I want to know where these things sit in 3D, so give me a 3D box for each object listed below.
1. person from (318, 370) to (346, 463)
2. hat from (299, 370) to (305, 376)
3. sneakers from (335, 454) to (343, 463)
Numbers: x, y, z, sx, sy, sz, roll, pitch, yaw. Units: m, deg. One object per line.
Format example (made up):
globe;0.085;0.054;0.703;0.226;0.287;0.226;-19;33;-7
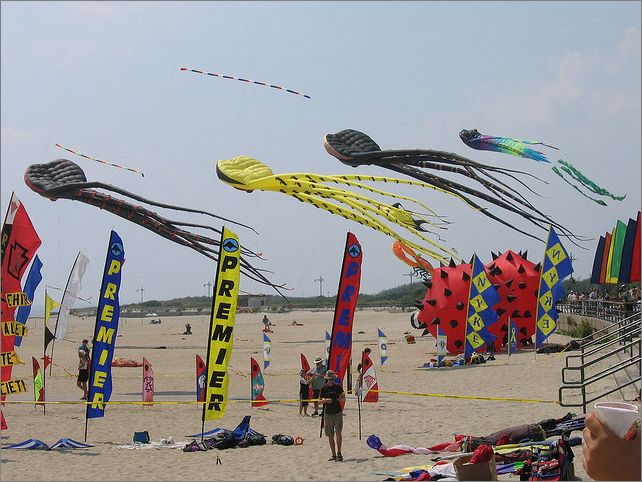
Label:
person;0.364;5.489;31.554;0.731;2.793;1.065;0;-14;3
hat;-0.679;4.735;36.473;0.238;0.243;0.202;3;-26;7
sneakers;0.564;6.697;31.184;0.198;0.287;0.581;3;0;2
